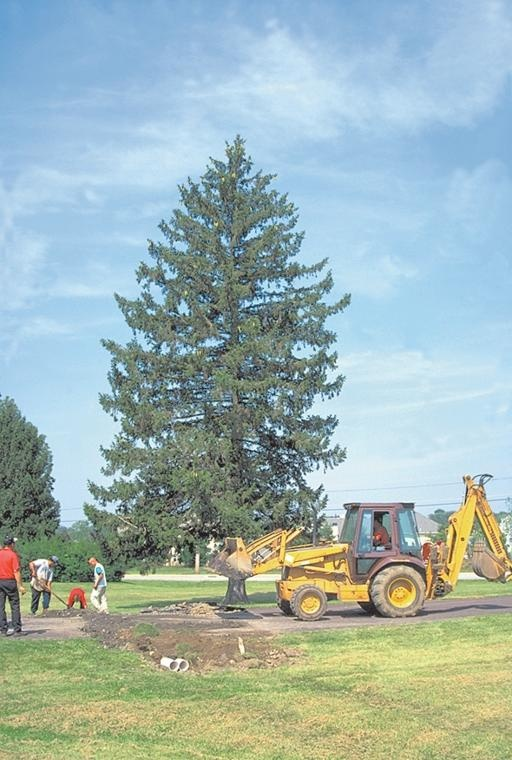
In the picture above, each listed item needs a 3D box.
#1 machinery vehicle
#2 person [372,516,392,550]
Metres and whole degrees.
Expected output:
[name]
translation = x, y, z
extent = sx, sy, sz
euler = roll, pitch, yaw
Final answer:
[machinery vehicle]
translation = 2.480, 3.678, 21.559
extent = 6.271, 2.995, 2.266
euler = -2, -7, -2
[person]
translation = 2.695, 3.312, 21.339
extent = 0.381, 0.714, 0.266
euler = -3, -8, 6
